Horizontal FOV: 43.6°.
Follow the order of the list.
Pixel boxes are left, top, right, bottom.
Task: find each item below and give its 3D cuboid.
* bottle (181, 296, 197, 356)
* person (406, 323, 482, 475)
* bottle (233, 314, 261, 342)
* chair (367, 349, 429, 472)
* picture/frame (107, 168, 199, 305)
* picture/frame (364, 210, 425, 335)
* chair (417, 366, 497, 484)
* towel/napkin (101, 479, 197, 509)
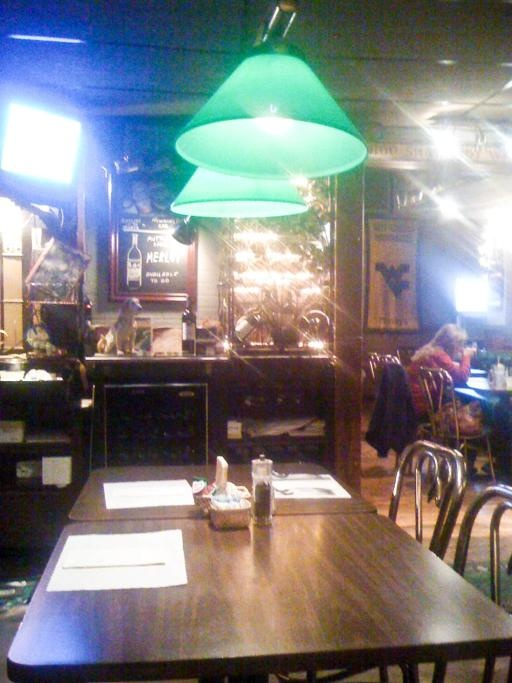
[{"bbox_3d":[-0.412,-0.100,3.958,0.076,0.348,0.222,0,3,-5],"label":"bottle"},{"bbox_3d":[1.588,0.504,5.158,0.499,1.337,0.512,-5,-28,16],"label":"person"},{"bbox_3d":[-0.058,-0.085,3.835,0.144,0.167,0.129,0,3,-6],"label":"bottle"},{"bbox_3d":[1.038,0.507,5.119,0.542,1.289,0.488,0,1,9],"label":"chair"},{"bbox_3d":[-0.796,-0.786,4.805,0.645,0.071,1.228,-6,-44,-19],"label":"picture/frame"},{"bbox_3d":[1.886,-0.922,8.844,0.870,1.553,0.128,-1,3,-22],"label":"picture/frame"},{"bbox_3d":[1.634,0.566,5.282,0.598,1.300,0.729,-2,5,-3],"label":"chair"},{"bbox_3d":[-0.335,0.466,1.966,0.280,0.011,0.318,-1,4,-11],"label":"towel/napkin"}]
